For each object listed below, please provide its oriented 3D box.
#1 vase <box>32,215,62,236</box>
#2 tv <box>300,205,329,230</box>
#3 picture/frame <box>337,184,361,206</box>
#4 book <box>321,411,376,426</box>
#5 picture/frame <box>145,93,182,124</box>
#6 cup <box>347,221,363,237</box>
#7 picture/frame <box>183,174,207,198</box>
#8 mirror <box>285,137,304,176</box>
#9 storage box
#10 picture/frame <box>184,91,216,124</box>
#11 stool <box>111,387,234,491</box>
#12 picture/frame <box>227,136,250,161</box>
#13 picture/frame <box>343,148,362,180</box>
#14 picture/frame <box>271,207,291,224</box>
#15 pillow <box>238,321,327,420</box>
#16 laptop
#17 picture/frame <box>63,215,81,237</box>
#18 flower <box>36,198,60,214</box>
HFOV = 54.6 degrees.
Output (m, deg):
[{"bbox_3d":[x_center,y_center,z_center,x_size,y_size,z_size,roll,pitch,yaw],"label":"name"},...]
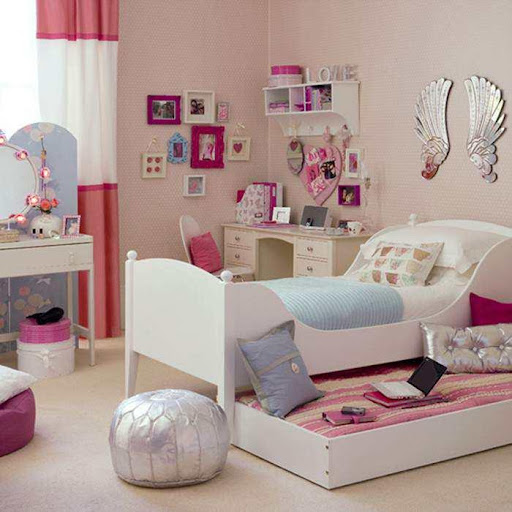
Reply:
[{"bbox_3d":[-1.493,-0.197,3.520,0.180,0.145,0.175,0,-1,0],"label":"vase"},{"bbox_3d":[0.526,-0.343,4.399,0.289,0.196,0.071,2,-7,44],"label":"tv"},{"bbox_3d":[0.804,-0.518,4.264,0.053,0.181,0.201,-6,8,-40],"label":"picture/frame"},{"bbox_3d":[0.352,0.613,1.875,0.189,0.033,0.108,-1,1,-17],"label":"book"},{"bbox_3d":[-0.847,-1.320,4.433,0.309,0.243,0.048,-6,11,-30],"label":"picture/frame"},{"bbox_3d":[0.802,-0.222,4.010,0.103,0.119,0.133,0,4,39],"label":"cup"},{"bbox_3d":[-0.589,-0.658,4.659,0.232,0.202,0.072,-3,5,-35],"label":"picture/frame"},{"bbox_3d":[0.382,-0.952,4.785,0.057,0.362,0.214,-2,2,-35],"label":"mirror"},{"bbox_3d":[-1.389,0.686,3.268,0.314,0.181,0.293,0,2,-23],"label":"storage box"},{"bbox_3d":[-0.533,-1.382,4.596,0.351,0.307,0.045,0,3,-34],"label":"picture/frame"},{"bbox_3d":[-0.310,0.625,1.762,0.359,0.208,0.346,1,2,14],"label":"stool"},{"bbox_3d":[-0.182,-1.057,4.864,0.267,0.225,0.035,-2,7,-33],"label":"picture/frame"},{"bbox_3d":[0.826,-0.779,4.220,0.067,0.263,0.226,-1,2,-23],"label":"picture/frame"},{"bbox_3d":[0.234,-0.380,4.724,0.189,0.181,0.013,0,-6,38],"label":"picture/frame"},{"bbox_3d":[0.094,0.469,2.037,0.095,0.309,0.318,-31,-4,36],"label":"pillow"},{"bbox_3d":[0.668,0.511,2.141,0.250,0.106,0.170,-3,10,-21],"label":"laptop"},{"bbox_3d":[-1.322,-0.206,3.598,0.112,0.139,0.143,1,-1,-18],"label":"picture/frame"},{"bbox_3d":[-1.501,-0.357,3.585,0.135,0.055,0.131,-17,28,-36],"label":"flower"}]
